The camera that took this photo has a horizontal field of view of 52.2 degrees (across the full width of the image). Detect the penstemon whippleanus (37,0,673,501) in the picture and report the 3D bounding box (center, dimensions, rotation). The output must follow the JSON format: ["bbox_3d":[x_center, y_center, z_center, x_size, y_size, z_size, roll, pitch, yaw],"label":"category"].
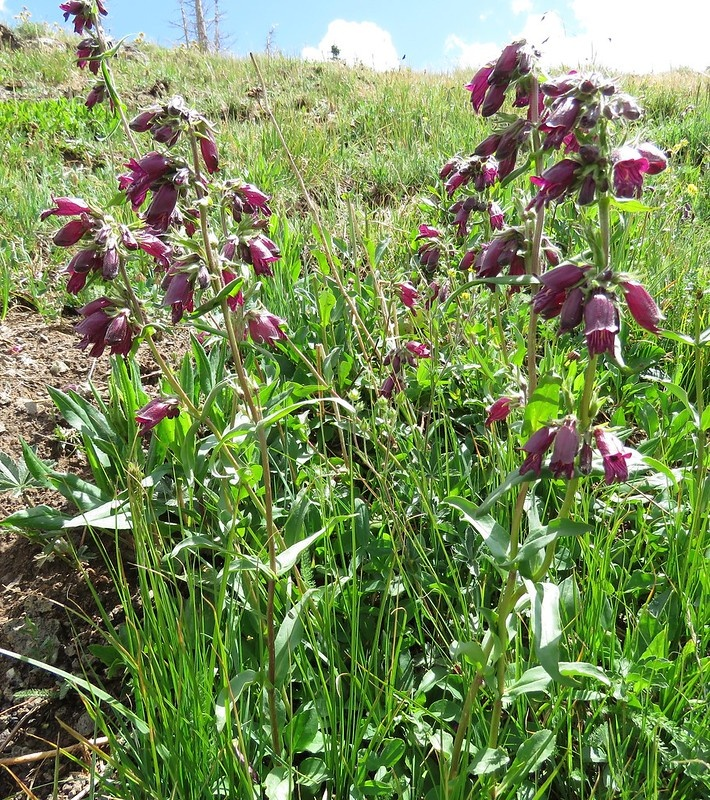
[{"bbox_3d":[0.059,-0.394,1.969,1.415,1.004,1.079,8,20,20],"label":"penstemon whippleanus"}]
